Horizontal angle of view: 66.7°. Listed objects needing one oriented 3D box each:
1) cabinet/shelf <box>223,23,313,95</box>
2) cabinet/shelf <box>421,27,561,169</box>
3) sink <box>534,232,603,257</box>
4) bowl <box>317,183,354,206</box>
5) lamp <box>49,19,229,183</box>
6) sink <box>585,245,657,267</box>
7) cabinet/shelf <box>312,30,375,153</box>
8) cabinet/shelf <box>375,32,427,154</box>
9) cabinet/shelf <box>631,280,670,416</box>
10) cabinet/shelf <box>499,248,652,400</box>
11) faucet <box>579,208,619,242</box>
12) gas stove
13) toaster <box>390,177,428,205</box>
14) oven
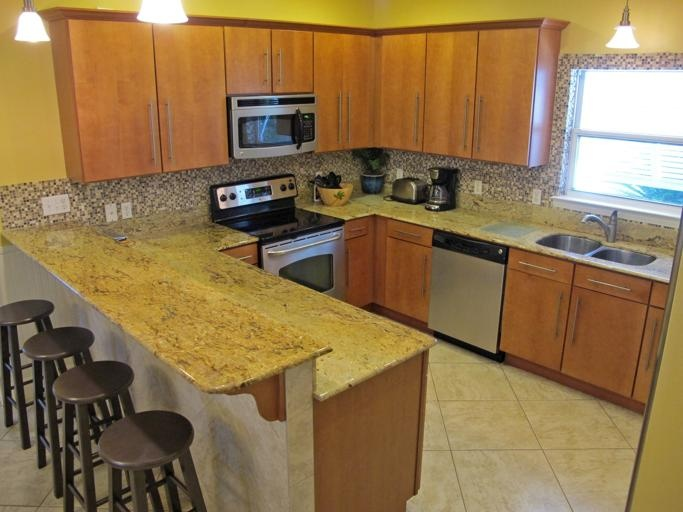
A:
[{"bbox_3d":[-0.523,-1.614,4.321,0.839,0.460,0.291,8,25,18],"label":"cabinet/shelf"},{"bbox_3d":[1.481,-1.342,4.311,0.449,1.065,0.676,-16,25,-30],"label":"cabinet/shelf"},{"bbox_3d":[1.841,-0.135,4.110,0.257,0.109,0.314,-19,27,-38],"label":"sink"},{"bbox_3d":[-0.027,-0.585,4.955,0.267,0.143,0.254,0,8,0],"label":"bowl"},{"bbox_3d":[-1.541,-1.179,3.927,0.502,1.190,1.318,23,31,29],"label":"lamp"},{"bbox_3d":[2.085,0.001,3.866,0.212,0.091,0.262,-19,24,-37],"label":"sink"},{"bbox_3d":[-0.084,-1.551,4.878,0.615,0.973,0.402,-18,30,-33],"label":"cabinet/shelf"},{"bbox_3d":[0.418,-1.552,5.086,0.513,1.016,0.597,-7,18,-23],"label":"cabinet/shelf"},{"bbox_3d":[2.116,0.653,3.515,0.121,1.011,0.157,-1,20,-8],"label":"cabinet/shelf"},{"bbox_3d":[1.625,0.553,4.043,1.260,0.928,0.606,17,-18,-12],"label":"cabinet/shelf"},{"bbox_3d":[1.947,-0.232,3.933,0.359,0.248,0.092,3,8,-21],"label":"faucet"},{"bbox_3d":[-0.527,-0.410,4.513,0.691,0.351,0.911,24,29,39],"label":"gas stove"},{"bbox_3d":[0.637,-0.645,5.059,0.271,0.265,0.420,-12,22,-38],"label":"toaster"},{"bbox_3d":[-0.664,-1.135,4.472,0.855,0.505,0.482,-16,30,-37],"label":"oven"}]
